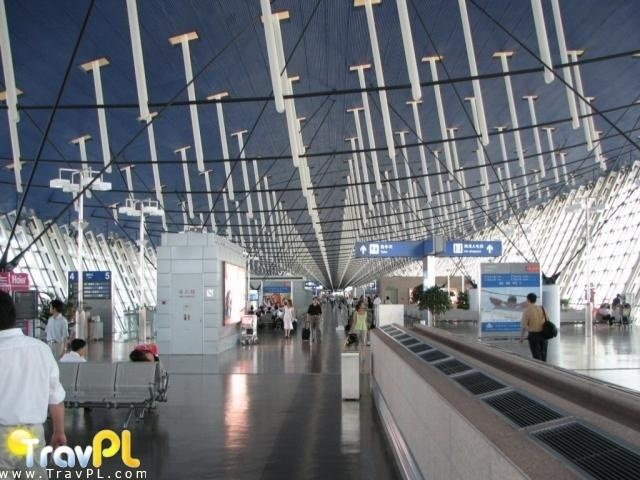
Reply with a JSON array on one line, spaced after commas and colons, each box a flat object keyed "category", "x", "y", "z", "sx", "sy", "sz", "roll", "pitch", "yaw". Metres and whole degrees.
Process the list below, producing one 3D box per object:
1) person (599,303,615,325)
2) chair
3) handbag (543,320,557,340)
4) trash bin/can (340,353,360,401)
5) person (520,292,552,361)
[{"category": "person", "x": 18.494, "y": 4.706, "z": 34.195, "sx": 0.926, "sy": 1.401, "sz": 1.358, "roll": 0, "pitch": -11, "yaw": 1}, {"category": "chair", "x": -3.820, "y": 2.635, "z": 9.858, "sx": 1.721, "sy": 0.904, "sz": 0.644, "roll": -5, "pitch": -6, "yaw": 5}, {"category": "handbag", "x": 4.881, "y": 1.905, "z": 11.484, "sx": 0.234, "sy": 0.419, "sz": 0.344, "roll": -8, "pitch": -7, "yaw": 33}, {"category": "trash bin/can", "x": 0.595, "y": 2.730, "z": 10.806, "sx": 0.367, "sy": 0.952, "sz": 0.259, "roll": -4, "pitch": -6, "yaw": -2}, {"category": "person", "x": 4.627, "y": 1.886, "z": 11.619, "sx": 0.529, "sy": 1.459, "sz": 1.074, "roll": -6, "pitch": -7, "yaw": 22}]
